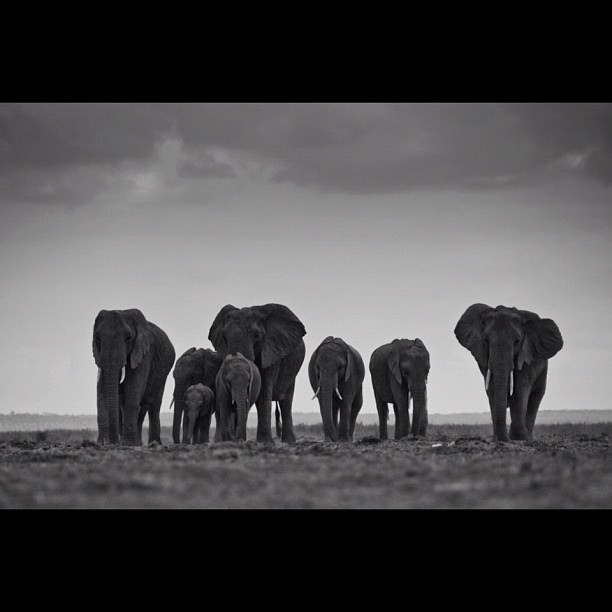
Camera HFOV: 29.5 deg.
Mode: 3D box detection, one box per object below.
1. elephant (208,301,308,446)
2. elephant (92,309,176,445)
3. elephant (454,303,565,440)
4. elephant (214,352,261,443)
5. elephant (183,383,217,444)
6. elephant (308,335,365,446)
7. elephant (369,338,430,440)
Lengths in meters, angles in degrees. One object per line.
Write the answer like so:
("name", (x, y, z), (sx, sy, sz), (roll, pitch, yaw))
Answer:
("elephant", (-0.598, 0.993, 18.078), (1.084, 1.911, 2.539), (-3, -17, 11))
("elephant", (-2.626, 1.095, 17.386), (0.909, 2.088, 3.142), (1, -7, 5))
("elephant", (2.965, 0.901, 16.733), (1.067, 1.729, 2.082), (-5, -22, 19))
("elephant", (-0.979, 1.358, 16.992), (0.590, 1.425, 2.242), (6, -1, -1))
("elephant", (-1.679, 1.739, 18.686), (0.446, 0.991, 1.453), (-3, -4, 8))
("elephant", (0.489, 1.465, 18.931), (0.730, 1.807, 2.172), (0, -6, 11))
("elephant", (1.581, 1.403, 19.664), (0.616, 1.685, 2.519), (-1, -8, -11))
